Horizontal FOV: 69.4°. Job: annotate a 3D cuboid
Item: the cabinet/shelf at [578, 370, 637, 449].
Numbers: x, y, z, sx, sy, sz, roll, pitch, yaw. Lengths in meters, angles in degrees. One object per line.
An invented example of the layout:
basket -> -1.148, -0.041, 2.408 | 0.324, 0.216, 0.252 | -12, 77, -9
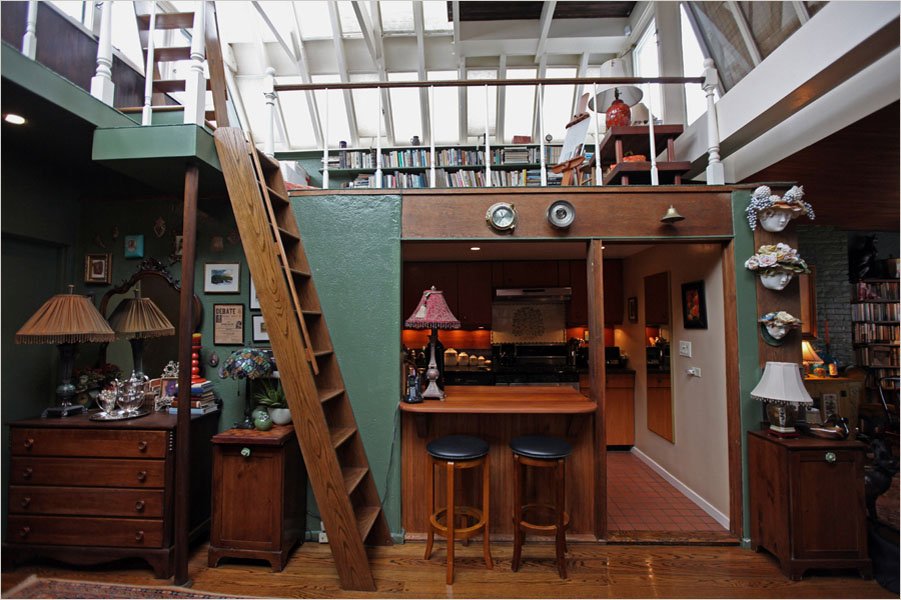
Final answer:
cabinet/shelf -> 2.137, 1.386, 8.176 | 0.352, 0.980, 0.149 | -2, -3, 1

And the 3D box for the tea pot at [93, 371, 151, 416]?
tea pot -> -3.070, 0.880, 6.129 | 0.409, 0.283, 0.435 | 3, 2, 0

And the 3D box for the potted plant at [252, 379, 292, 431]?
potted plant -> -1.697, 0.990, 6.152 | 0.461, 0.526, 0.396 | -3, -7, 3

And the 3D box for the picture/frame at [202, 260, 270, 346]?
picture/frame -> -2.150, 0.041, 6.507 | 0.625, 0.834, 0.035 | -2, -3, 1

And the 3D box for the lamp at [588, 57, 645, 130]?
lamp -> 1.798, -2.242, 7.056 | 0.578, 0.955, 0.891 | -2, -3, 9

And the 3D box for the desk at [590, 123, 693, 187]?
desk -> 2.089, -1.483, 7.378 | 0.728, 0.664, 1.407 | -4, 1, 4

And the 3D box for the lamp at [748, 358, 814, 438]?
lamp -> 3.155, 0.939, 6.325 | 0.623, 0.786, 0.651 | -1, 0, 3

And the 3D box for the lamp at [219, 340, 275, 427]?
lamp -> -1.841, 0.767, 6.282 | 0.667, 0.915, 0.707 | 0, 1, -31

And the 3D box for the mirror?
mirror -> 2.444, 0.656, 7.545 | 0.202, 1.923, 0.732 | -1, -3, -2

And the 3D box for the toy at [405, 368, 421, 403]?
toy -> -0.359, 0.824, 6.298 | 0.156, 0.329, 0.183 | -1, -3, -4

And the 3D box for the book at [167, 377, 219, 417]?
book -> -2.440, 0.909, 6.308 | 0.443, 0.207, 0.324 | 0, -4, -7

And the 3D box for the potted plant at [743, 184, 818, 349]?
potted plant -> 3.147, -0.332, 6.241 | 0.590, 1.522, 0.251 | -3, -3, 25
